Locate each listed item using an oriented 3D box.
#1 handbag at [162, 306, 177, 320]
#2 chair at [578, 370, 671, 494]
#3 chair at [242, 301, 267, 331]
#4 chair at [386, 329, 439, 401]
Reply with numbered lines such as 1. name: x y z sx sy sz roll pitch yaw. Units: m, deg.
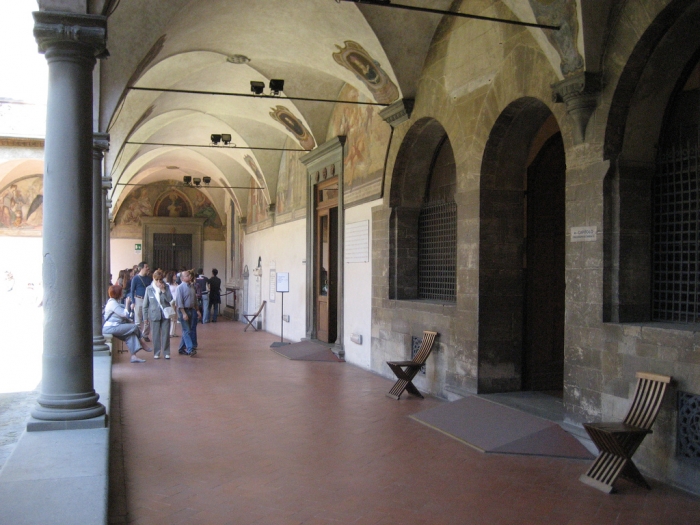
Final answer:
1. handbag: -4.380 1.215 13.078 0.327 0.330 0.179 -4 -5 -44
2. chair: 2.884 1.753 5.674 0.887 1.133 0.546 1 -2 -24
3. chair: -3.586 1.919 20.463 0.690 1.074 2.623 0 -2 -12
4. chair: 1.050 1.715 9.240 0.739 1.136 0.569 3 -2 -22
